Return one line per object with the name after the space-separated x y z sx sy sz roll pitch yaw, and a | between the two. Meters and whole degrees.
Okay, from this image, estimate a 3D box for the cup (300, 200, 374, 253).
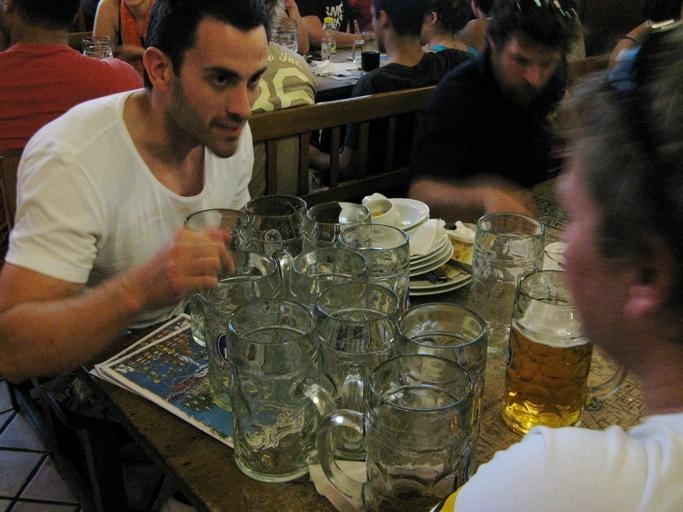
-0.020 -0.088 1.227 0.130 0.122 0.124 0 21 0 | cup

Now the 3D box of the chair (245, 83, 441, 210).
0.028 -0.511 2.514 0.856 0.506 0.304 -19 45 -26 | chair

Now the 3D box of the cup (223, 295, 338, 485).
-0.094 0.217 0.893 0.171 0.267 0.138 -2 26 -1 | cup

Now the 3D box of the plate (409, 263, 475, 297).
0.251 0.057 1.376 0.111 0.021 0.107 4 25 26 | plate

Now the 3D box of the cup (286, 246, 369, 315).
-0.028 0.029 1.046 0.125 0.116 0.119 1 26 -1 | cup

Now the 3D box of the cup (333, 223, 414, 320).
0.072 0.022 1.163 0.136 0.197 0.201 -6 24 -2 | cup
